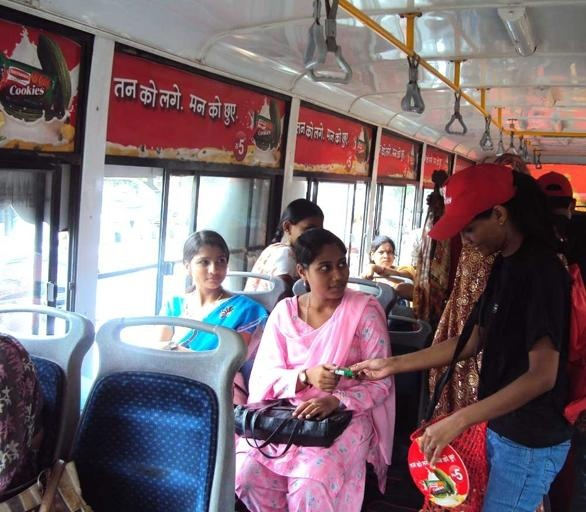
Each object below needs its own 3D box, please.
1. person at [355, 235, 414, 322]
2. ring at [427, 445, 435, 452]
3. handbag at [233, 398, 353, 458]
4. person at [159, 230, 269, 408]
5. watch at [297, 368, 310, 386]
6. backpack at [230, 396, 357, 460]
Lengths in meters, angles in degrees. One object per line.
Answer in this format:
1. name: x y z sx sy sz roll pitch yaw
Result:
1. person: 1.054 0.515 5.028 0.495 1.455 0.759 -5 1 12
2. ring: 0.457 0.640 1.508 0.023 0.018 0.008 -14 25 22
3. handbag: -0.023 0.790 2.133 0.342 0.117 0.367 1 -2 21
4. person: -0.512 0.477 2.798 0.594 1.201 0.321 -2 13 -1
5. watch: 0.051 0.612 2.276 0.050 0.076 0.071 -2 21 -9
6. backpack: -0.013 0.789 2.134 0.346 0.130 0.371 1 -1 21
